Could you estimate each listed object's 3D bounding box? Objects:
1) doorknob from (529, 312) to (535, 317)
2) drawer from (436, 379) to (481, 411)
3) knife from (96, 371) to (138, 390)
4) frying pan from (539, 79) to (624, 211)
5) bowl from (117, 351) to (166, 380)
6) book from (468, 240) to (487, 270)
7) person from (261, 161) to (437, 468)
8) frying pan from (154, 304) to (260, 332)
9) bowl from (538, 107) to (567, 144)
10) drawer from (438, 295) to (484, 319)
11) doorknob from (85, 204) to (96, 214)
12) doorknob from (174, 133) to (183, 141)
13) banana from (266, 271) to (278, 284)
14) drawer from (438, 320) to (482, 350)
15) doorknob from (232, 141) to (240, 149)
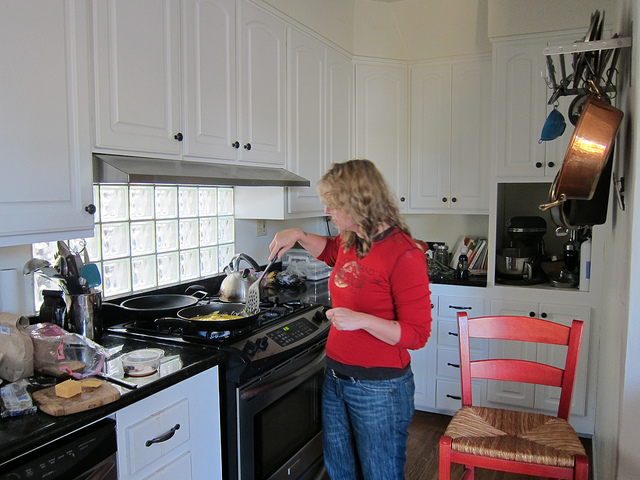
[{"bbox_3d":[1.413,0.495,3.134,0.032,0.026,0.018,0,2,10],"label":"doorknob"},{"bbox_3d":[0.979,1.110,3.331,0.305,0.225,0.051,1,3,31],"label":"drawer"},{"bbox_3d":[-0.747,0.518,1.727,0.180,0.008,0.024,7,22,37],"label":"knife"},{"bbox_3d":[0.927,-0.317,1.678,0.246,0.399,0.172,0,3,24],"label":"frying pan"},{"bbox_3d":[-0.690,0.480,1.831,0.160,0.075,0.210,-1,2,-14],"label":"bowl"},{"bbox_3d":[1.201,0.116,3.593,0.042,0.182,0.181,13,2,16],"label":"book"},{"bbox_3d":[0.188,0.369,2.083,0.566,1.401,0.618,-1,3,-8],"label":"person"},{"bbox_3d":[-0.514,0.371,2.258,0.420,0.091,0.359,0,2,24],"label":"frying pan"},{"bbox_3d":[1.015,-0.493,2.011,0.153,0.109,0.038,-23,43,11],"label":"bowl"},{"bbox_3d":[0.986,0.462,3.294,0.254,0.163,0.164,0,-3,18],"label":"drawer"},{"bbox_3d":[-0.920,-0.125,1.879,0.020,0.038,0.037,0,2,17],"label":"doorknob"},{"bbox_3d":[-0.655,-0.483,2.183,0.023,0.037,0.054,0,2,22],"label":"doorknob"},{"bbox_3d":[-0.335,0.253,3.245,0.048,0.024,0.066,0,46,22],"label":"banana"},{"bbox_3d":[1.022,0.675,3.355,0.335,0.208,0.201,-3,-9,31],"label":"drawer"},{"bbox_3d":[-0.448,-0.514,2.512,0.016,0.036,0.055,0,2,24],"label":"doorknob"}]
